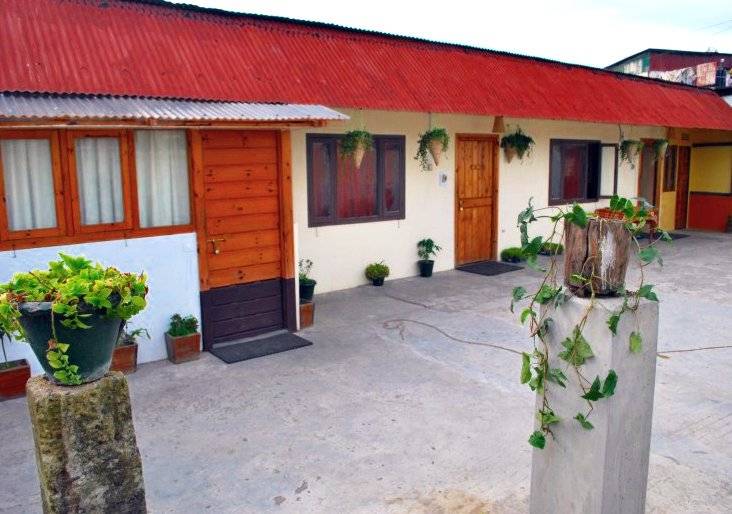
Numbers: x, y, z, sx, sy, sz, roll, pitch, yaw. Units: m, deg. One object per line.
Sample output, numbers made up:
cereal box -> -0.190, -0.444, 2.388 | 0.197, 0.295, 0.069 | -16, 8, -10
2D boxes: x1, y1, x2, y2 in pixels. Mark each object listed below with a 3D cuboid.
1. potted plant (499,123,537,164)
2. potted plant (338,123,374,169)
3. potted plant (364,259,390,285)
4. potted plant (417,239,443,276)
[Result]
potted plant -> 3.626, -2.631, 13.125 | 0.991, 0.838, 0.487 | -12, 18, -39
potted plant -> -0.077, -2.000, 10.297 | 0.705, 0.723, 0.707 | -4, 2, -29
potted plant -> 0.231, 0.296, 11.088 | 0.437, 0.427, 0.424 | 1, 3, -8
potted plant -> 1.383, -0.006, 11.933 | 0.588, 0.775, 0.390 | -9, 17, -32
